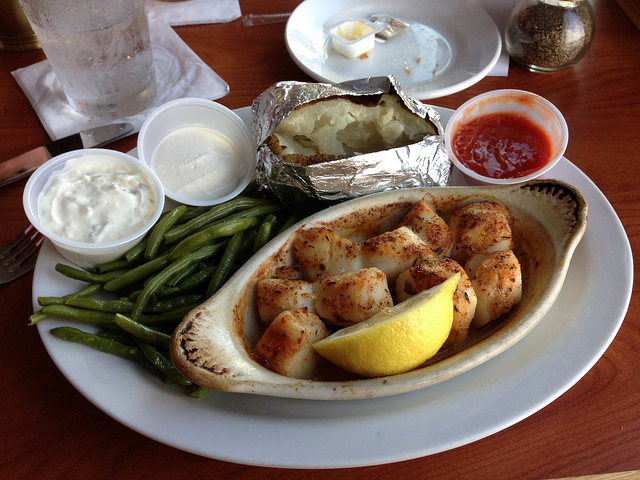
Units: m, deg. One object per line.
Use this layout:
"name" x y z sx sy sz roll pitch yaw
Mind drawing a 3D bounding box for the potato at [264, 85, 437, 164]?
"potato" 0.065 -0.400 1.959 0.568 0.258 0.368 -20 33 -28

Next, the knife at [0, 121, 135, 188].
"knife" -0.836 -0.278 1.886 0.553 0.044 0.089 -24 68 -30
